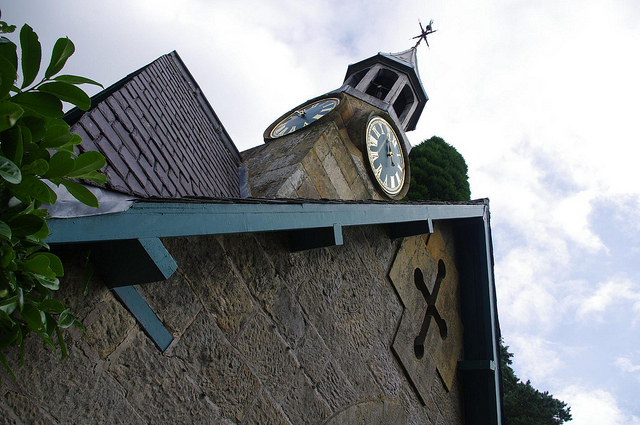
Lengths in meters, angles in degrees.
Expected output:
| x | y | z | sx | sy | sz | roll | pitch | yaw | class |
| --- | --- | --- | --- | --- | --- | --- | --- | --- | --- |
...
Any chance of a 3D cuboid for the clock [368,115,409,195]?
| x | y | z | sx | sy | sz | roll | pitch | yaw | class |
| --- | --- | --- | --- | --- | --- | --- | --- | --- | --- |
| 1.143 | -0.947 | 10.488 | 0.201 | 1.505 | 1.207 | -18 | -32 | 28 | clock |
